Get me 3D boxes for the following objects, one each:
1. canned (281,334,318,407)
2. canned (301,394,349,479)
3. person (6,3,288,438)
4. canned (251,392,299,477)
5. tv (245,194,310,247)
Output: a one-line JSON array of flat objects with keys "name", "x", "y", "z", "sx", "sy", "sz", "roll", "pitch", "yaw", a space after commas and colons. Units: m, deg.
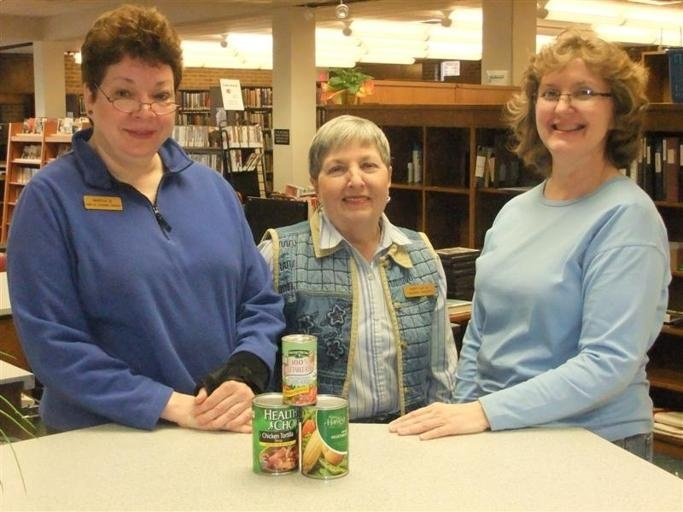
[{"name": "canned", "x": -0.101, "y": 0.283, "z": 1.343, "sx": 0.083, "sy": 0.167, "sz": 0.068, "roll": -1, "pitch": 8, "yaw": -5}, {"name": "canned", "x": -0.038, "y": 0.451, "z": 1.392, "sx": 0.177, "sy": 0.175, "sz": 0.170, "roll": -1, "pitch": 2, "yaw": -7}, {"name": "person", "x": -0.595, "y": -0.101, "z": 1.742, "sx": 0.807, "sy": 1.393, "sz": 0.573, "roll": -1, "pitch": 8, "yaw": -6}, {"name": "canned", "x": -0.160, "y": 0.454, "z": 1.420, "sx": 0.179, "sy": 0.170, "sz": 0.166, "roll": -1, "pitch": 3, "yaw": -13}, {"name": "tv", "x": -0.587, "y": -0.360, "z": 4.842, "sx": 0.675, "sy": 0.564, "sz": 0.453, "roll": 1, "pitch": 4, "yaw": 2}]
